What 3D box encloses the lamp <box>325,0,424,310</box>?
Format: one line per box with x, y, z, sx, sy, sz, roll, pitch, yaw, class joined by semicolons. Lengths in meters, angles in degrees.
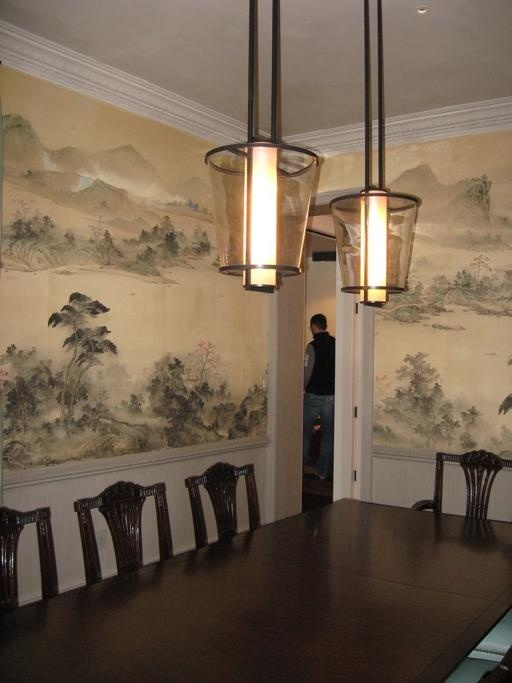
0.409;-0.753;1.925;0.250;1.308;0.740;1;-3;13;lamp

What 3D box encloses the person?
0.689;0.602;6.302;0.323;1.775;0.411;1;-3;5;person

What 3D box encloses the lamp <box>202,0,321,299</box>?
0.037;-0.562;1.420;0.232;0.934;0.625;1;-3;5;lamp
